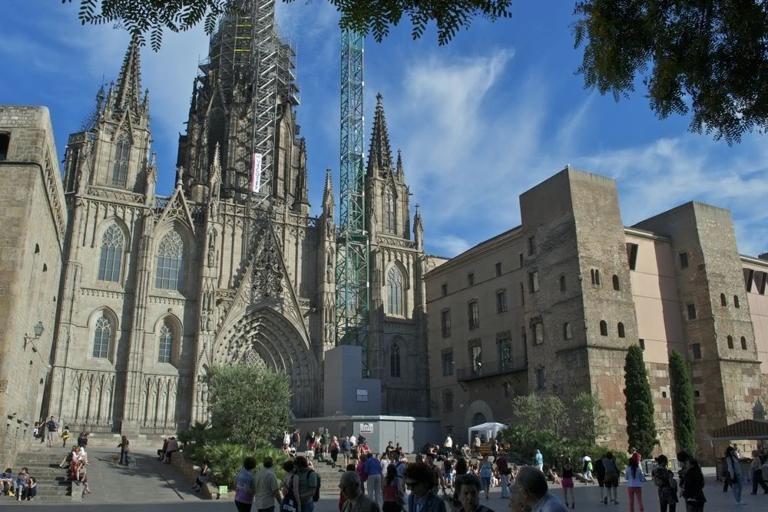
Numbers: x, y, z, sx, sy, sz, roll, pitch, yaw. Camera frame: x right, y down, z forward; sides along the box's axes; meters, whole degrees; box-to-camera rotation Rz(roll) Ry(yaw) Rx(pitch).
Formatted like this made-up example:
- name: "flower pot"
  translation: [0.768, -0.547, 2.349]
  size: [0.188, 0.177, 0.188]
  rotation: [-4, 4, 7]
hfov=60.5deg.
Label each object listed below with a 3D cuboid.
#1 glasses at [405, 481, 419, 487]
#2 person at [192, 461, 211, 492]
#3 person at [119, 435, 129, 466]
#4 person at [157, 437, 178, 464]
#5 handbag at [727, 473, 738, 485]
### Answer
- name: "glasses"
  translation: [0.463, 3.962, 11.390]
  size: [0.123, 0.111, 0.308]
  rotation: [7, -21, -14]
- name: "person"
  translation: [-7.492, 9.060, 27.167]
  size: [0.564, 1.234, 1.841]
  rotation: [7, -21, -14]
- name: "person"
  translation: [-12.423, 9.311, 31.671]
  size: [0.475, 1.423, 1.795]
  rotation: [9, -22, -19]
- name: "person"
  translation: [-10.547, 9.477, 32.450]
  size: [0.619, 1.262, 2.030]
  rotation: [10, -22, -23]
- name: "handbag"
  translation: [11.781, 7.489, 22.113]
  size: [0.306, 0.238, 0.651]
  rotation: [-11, -24, 31]
